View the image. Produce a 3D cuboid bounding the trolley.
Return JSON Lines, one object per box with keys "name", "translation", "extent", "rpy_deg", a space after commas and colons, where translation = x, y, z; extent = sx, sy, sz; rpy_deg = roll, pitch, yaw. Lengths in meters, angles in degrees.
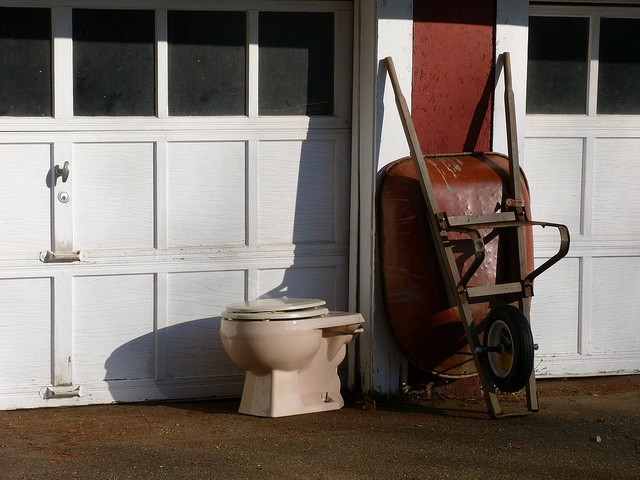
{"name": "trolley", "translation": [0.946, -0.069, 5.223], "extent": [0.973, 2.253, 0.681], "rpy_deg": [-1, 1, 2]}
